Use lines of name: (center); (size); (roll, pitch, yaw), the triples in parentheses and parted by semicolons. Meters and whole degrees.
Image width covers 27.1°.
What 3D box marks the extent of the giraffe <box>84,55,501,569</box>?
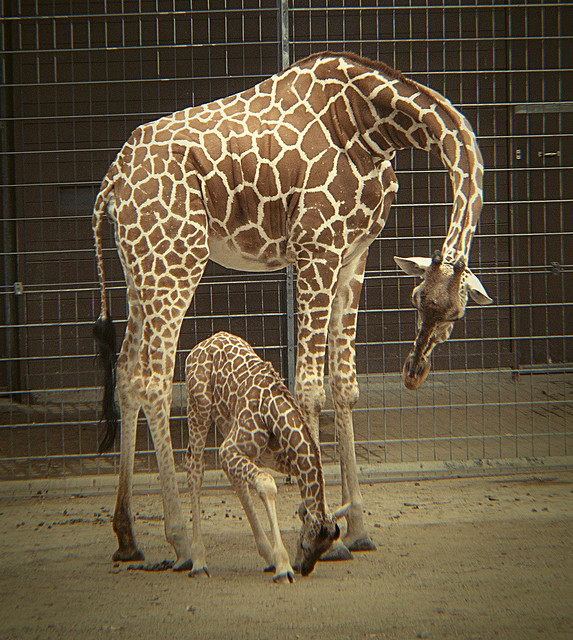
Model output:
giraffe: (0.057, -0.188, 7.707); (2.810, 3.876, 1.635); (-3, -5, 19)

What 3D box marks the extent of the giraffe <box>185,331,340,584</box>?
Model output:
giraffe: (-0.167, 0.750, 6.272); (0.442, 1.251, 1.338); (3, 3, -36)
